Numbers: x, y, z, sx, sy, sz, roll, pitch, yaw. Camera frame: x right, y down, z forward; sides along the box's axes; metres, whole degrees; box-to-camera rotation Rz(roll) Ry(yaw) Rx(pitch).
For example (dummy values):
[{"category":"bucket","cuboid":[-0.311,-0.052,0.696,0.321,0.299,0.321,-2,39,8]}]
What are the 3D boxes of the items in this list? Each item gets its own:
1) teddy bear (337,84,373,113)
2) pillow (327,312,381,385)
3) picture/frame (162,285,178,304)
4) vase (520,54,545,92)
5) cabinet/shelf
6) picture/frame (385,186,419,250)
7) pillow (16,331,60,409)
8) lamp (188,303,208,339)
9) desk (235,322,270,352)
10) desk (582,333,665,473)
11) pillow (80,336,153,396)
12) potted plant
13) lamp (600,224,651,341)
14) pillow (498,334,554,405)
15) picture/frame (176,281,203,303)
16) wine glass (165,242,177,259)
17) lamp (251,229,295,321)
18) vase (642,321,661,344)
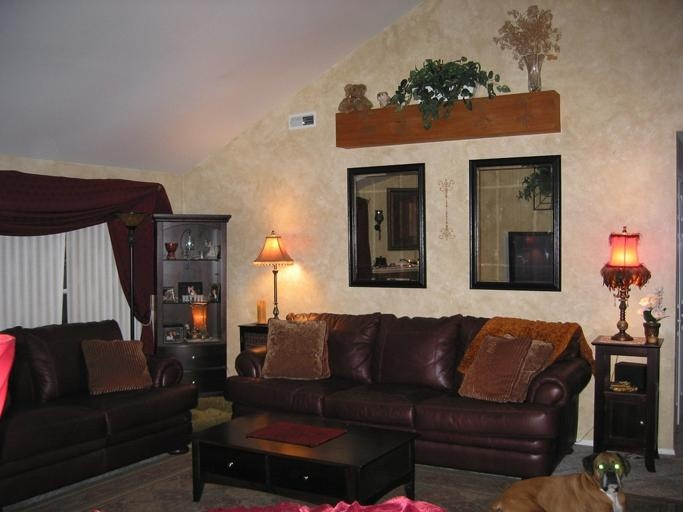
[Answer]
[{"category":"teddy bear","cuboid":[0.152,-1.573,5.864,0.323,0.308,0.219,1,2,19]},{"category":"pillow","cuboid":[0.033,0.867,5.753,0.701,0.614,0.342,-3,11,41]},{"category":"picture/frame","cuboid":[-1.889,0.420,6.494,0.162,0.172,0.116,0,2,-24]},{"category":"vase","cuboid":[1.670,-1.578,5.136,0.187,0.344,0.184,2,2,29]},{"category":"cabinet/shelf","cuboid":[-1.688,0.555,6.723,0.906,2.178,0.562,0,10,-12]},{"category":"picture/frame","cuboid":[0.642,-0.376,5.970,0.350,0.618,0.055,1,5,22]},{"category":"pillow","cuboid":[-2.485,0.925,4.861,0.142,0.482,0.500,-14,-8,0]},{"category":"lamp","cuboid":[-1.587,0.702,6.581,0.237,0.401,0.231,-5,-1,5]},{"category":"desk","cuboid":[-0.922,0.833,6.391,0.376,0.364,0.285,-3,-3,33]},{"category":"desk","cuboid":[2.380,1.210,4.929,0.531,0.983,0.388,0,-2,23]},{"category":"pillow","cuboid":[-1.950,0.930,5.080,0.492,0.473,0.143,-5,-15,-21]},{"category":"potted plant","cuboid":[0.981,-1.611,5.338,0.970,0.367,0.955,-4,2,-4]},{"category":"lamp","cuboid":[2.419,0.221,5.013,0.374,0.946,0.402,2,2,27]},{"category":"pillow","cuboid":[1.488,0.897,4.677,0.272,0.460,0.458,2,2,35]},{"category":"picture/frame","cuboid":[-1.718,0.401,6.585,0.216,0.187,0.070,4,-19,-26]},{"category":"wine glass","cuboid":[-1.878,-0.075,6.504,0.153,0.179,0.155,0,-4,1]},{"category":"lamp","cuboid":[-0.729,0.193,6.470,0.434,0.967,0.473,0,2,-5]},{"category":"vase","cuboid":[2.556,0.622,4.837,0.161,0.188,0.163,0,-9,5]}]
